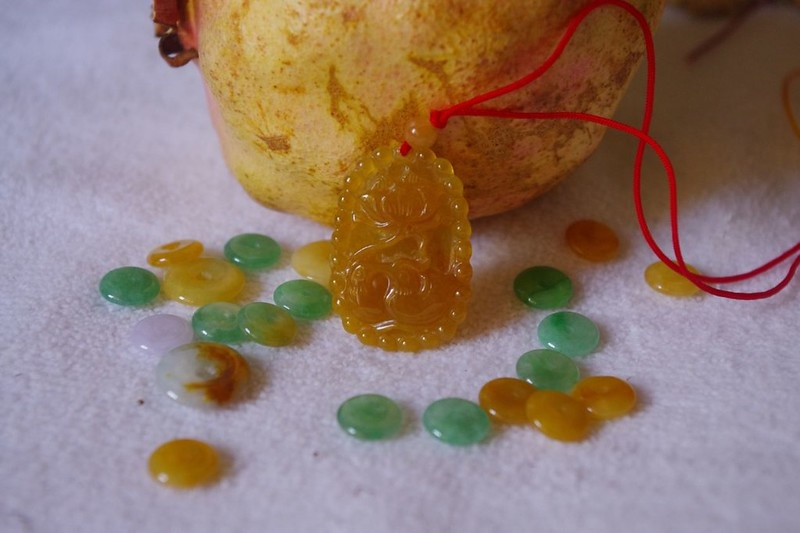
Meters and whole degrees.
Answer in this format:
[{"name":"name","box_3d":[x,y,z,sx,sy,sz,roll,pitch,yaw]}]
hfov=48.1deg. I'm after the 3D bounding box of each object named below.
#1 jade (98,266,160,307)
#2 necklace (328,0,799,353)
[{"name":"jade","box_3d":[-0.321,0.026,1.064,0.054,0.025,0.047,2,50,-16]},{"name":"necklace","box_3d":[0.186,-0.092,1.076,0.441,0.049,0.303,-4,95,-4]}]
